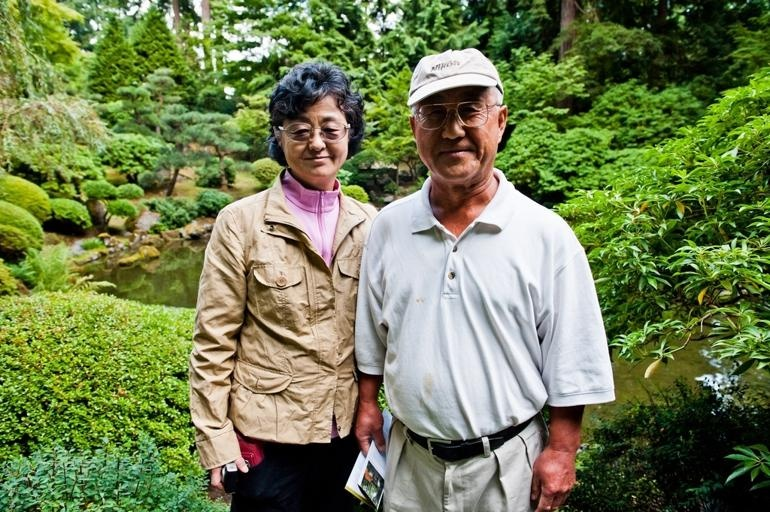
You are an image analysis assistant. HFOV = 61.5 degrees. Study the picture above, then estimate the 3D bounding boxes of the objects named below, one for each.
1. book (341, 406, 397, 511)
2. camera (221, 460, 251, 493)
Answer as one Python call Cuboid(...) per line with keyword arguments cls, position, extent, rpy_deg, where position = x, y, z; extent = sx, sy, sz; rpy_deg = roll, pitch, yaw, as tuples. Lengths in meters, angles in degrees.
Cuboid(cls="book", position=(-0.061, 1.348, 4.229), extent=(0.200, 0.403, 0.541), rpy_deg=(-26, 37, 35))
Cuboid(cls="camera", position=(-0.945, 1.416, 4.147), extent=(0.192, 0.244, 0.069), rpy_deg=(-15, 19, -38))
